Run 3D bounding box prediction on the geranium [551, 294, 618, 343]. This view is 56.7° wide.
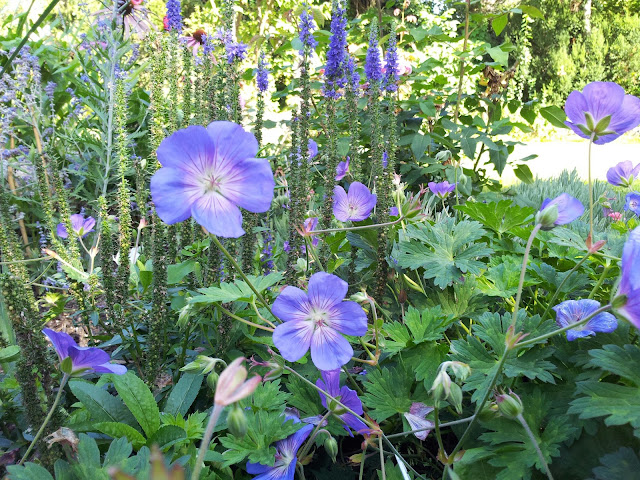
[{"bbox_3d":[0.775,0.228,1.726,0.157,0.062,0.154,-25,15,-10],"label":"geranium"}]

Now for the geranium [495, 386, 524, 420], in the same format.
[{"bbox_3d":[0.515,0.443,1.616,0.060,0.081,0.134,-1,4,17],"label":"geranium"}]
